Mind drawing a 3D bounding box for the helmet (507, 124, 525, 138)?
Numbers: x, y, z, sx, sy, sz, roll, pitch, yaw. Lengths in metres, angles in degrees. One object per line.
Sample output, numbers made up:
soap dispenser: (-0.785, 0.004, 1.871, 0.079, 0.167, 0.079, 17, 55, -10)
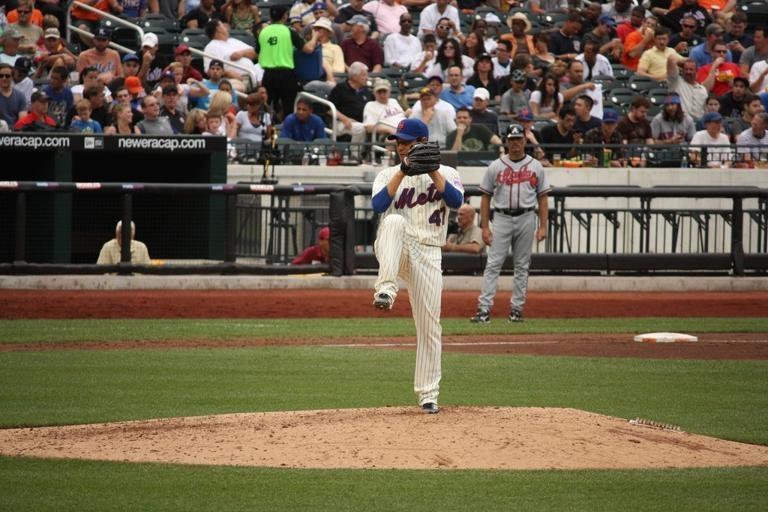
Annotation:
helmet: (2.147, -2.015, 30.140, 0.263, 0.242, 0.276, 0, 1, -11)

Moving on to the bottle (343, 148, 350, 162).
bottle: (-0.679, -1.888, 34.660, 0.091, 0.225, 0.163, -1, 2, -43)

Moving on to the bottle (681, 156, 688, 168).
bottle: (5.758, -1.793, 35.281, 0.143, 0.200, 0.061, 1, 1, 7)

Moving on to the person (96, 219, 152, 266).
person: (-4.586, -0.253, 32.598, 0.860, 0.912, 0.319, 1, 0, -3)

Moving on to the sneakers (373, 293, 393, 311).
sneakers: (-0.001, 0.639, 25.922, 0.251, 0.238, 0.191, 0, 1, -5)

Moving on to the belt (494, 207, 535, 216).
belt: (2.137, -0.703, 30.257, 0.639, 0.137, 0.176, 0, 1, 4)

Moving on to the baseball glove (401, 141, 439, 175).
baseball glove: (0.520, -1.359, 25.976, 0.545, 0.455, 0.245, 1, 1, 5)

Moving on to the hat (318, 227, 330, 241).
hat: (-1.039, -0.395, 32.966, 0.172, 0.216, 0.199, 0, 22, -44)

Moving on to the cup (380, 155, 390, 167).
cup: (0.031, -1.764, 34.640, 0.223, 0.301, 0.217, 2, 0, 0)

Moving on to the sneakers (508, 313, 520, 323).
sneakers: (2.157, 1.006, 30.574, 0.182, 0.171, 0.125, -1, 11, -34)

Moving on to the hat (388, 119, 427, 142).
hat: (0.389, -1.766, 26.234, 0.426, 0.209, 0.299, 2, 8, -10)

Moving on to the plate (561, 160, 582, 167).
plate: (3.562, -1.724, 34.901, 0.429, 0.129, 0.104, 0, 1, -4)

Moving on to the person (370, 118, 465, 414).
person: (0.466, 0.139, 26.159, 1.241, 4.149, 0.625, 0, 1, -3)

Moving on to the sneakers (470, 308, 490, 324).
sneakers: (1.599, 0.988, 30.278, 0.318, 0.136, 0.166, 1, 0, -28)

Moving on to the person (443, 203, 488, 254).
person: (1.406, -0.337, 33.312, 0.725, 1.157, 0.781, -3, 5, -30)
